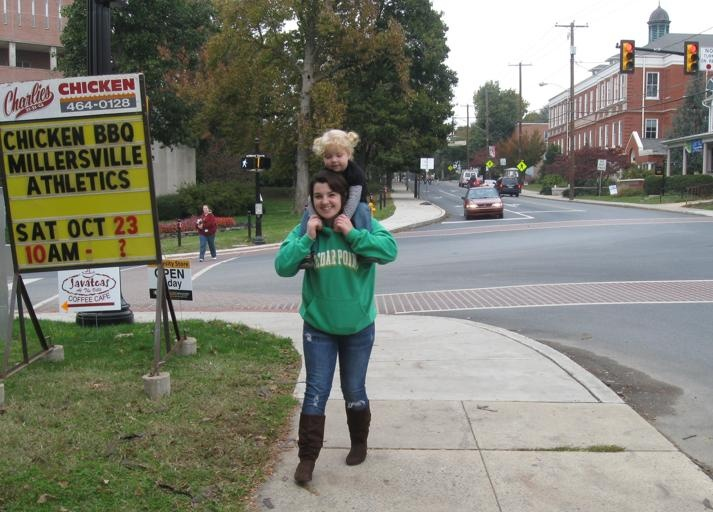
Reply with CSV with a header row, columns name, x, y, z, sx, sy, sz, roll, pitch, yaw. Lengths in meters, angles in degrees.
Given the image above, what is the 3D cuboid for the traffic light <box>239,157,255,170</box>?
name,x,y,z,sx,sy,sz,roll,pitch,yaw
traffic light,-3.750,-3.212,25.001,0.258,0.445,0.732,-7,7,-27

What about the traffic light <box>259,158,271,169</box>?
name,x,y,z,sx,sy,sz,roll,pitch,yaw
traffic light,-3.153,-3.184,24.939,0.298,0.441,0.401,-1,7,-19

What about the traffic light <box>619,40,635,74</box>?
name,x,y,z,sx,sy,sz,roll,pitch,yaw
traffic light,8.892,-6.581,24.083,0.411,1.023,1.672,-1,7,20

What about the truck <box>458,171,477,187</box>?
name,x,y,z,sx,sy,sz,roll,pitch,yaw
truck,12.363,-8.358,81.115,1.889,1.992,3.293,1,10,3

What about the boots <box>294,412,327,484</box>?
name,x,y,z,sx,sy,sz,roll,pitch,yaw
boots,-0.436,1.653,6.313,0.194,0.589,0.348,2,9,40

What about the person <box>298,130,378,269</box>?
name,x,y,z,sx,sy,sz,roll,pitch,yaw
person,-0.213,-0.561,6.406,0.714,1.125,0.675,-2,17,4

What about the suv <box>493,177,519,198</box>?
name,x,y,z,sx,sy,sz,roll,pitch,yaw
suv,11.643,-5.296,56.578,1.724,1.443,3.178,1,13,5

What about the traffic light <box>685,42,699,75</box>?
name,x,y,z,sx,sy,sz,roll,pitch,yaw
traffic light,10.651,-6.357,23.332,0.434,1.089,1.138,-1,7,22

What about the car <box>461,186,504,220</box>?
name,x,y,z,sx,sy,sz,roll,pitch,yaw
car,5.620,-2.353,32.806,1.602,1.309,1.898,-3,6,7

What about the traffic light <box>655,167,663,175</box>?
name,x,y,z,sx,sy,sz,roll,pitch,yaw
traffic light,17.386,-4.957,42.164,0.500,0.488,0.280,-1,-1,13
